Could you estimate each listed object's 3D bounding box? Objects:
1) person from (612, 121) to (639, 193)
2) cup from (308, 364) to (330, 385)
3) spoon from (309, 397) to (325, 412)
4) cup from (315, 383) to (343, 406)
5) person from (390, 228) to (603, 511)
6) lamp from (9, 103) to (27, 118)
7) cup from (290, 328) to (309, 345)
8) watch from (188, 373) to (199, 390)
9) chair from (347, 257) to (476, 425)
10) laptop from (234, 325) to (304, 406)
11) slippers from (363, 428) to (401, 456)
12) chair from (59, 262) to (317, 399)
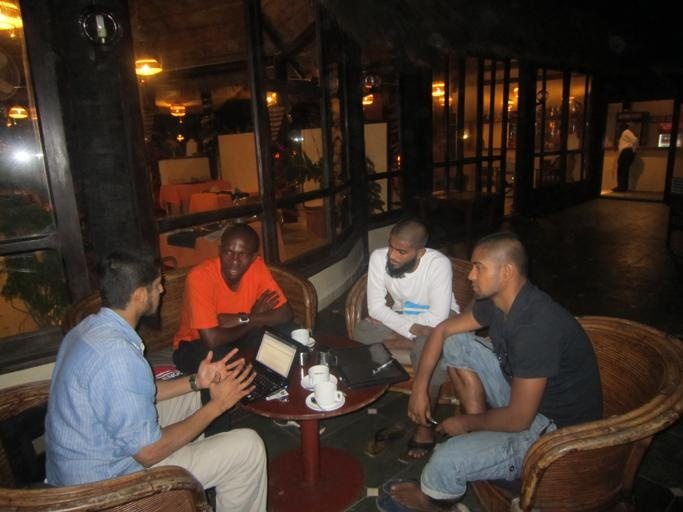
[{"bbox_3d":[7.492,-2.542,13.056,0.481,1.623,0.993,4,15,30],"label":"person"},{"bbox_3d":[-0.130,0.700,2.894,0.084,0.072,0.116,0,0,11],"label":"cup"},{"bbox_3d":[-0.144,0.846,2.795,0.078,0.013,0.054,34,55,25],"label":"spoon"},{"bbox_3d":[-0.073,0.775,2.805,0.148,0.097,0.112,7,22,16],"label":"cup"},{"bbox_3d":[0.920,0.483,3.418,1.555,2.121,1.144,4,18,15],"label":"person"},{"bbox_3d":[-2.156,-0.990,3.360,0.093,0.100,0.091,14,32,25],"label":"lamp"},{"bbox_3d":[-0.270,0.532,3.215,0.108,0.079,0.081,0,1,-22],"label":"cup"},{"bbox_3d":[-0.831,0.722,2.808,0.059,0.091,0.086,-3,22,-12],"label":"watch"},{"bbox_3d":[0.533,0.628,3.956,1.065,1.202,1.013,1,8,18],"label":"chair"},{"bbox_3d":[-0.427,0.661,2.996,0.349,0.260,0.332,20,26,39],"label":"laptop"},{"bbox_3d":[0.300,1.312,3.494,0.123,0.060,0.221,13,23,42],"label":"slippers"},{"bbox_3d":[-0.961,0.389,3.732,1.275,0.654,0.739,-15,34,-22],"label":"chair"}]
